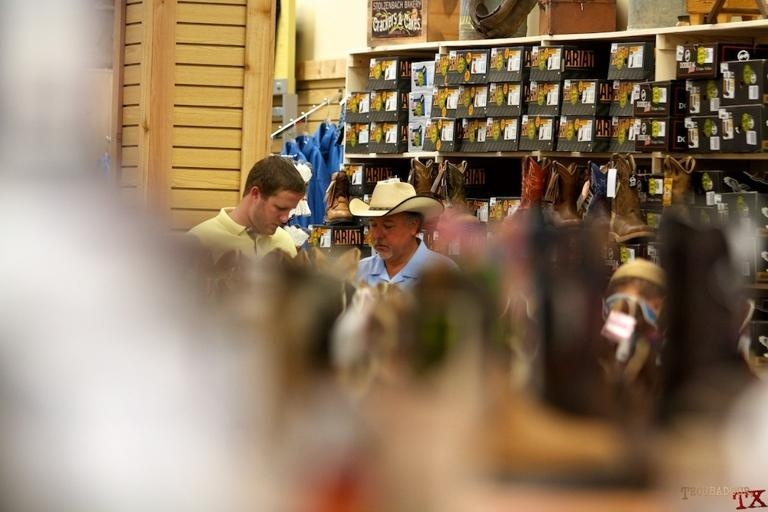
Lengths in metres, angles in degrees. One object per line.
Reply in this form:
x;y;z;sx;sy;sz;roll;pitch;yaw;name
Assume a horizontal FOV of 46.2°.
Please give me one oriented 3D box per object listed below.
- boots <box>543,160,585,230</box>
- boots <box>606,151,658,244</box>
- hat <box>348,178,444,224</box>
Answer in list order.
0.773;-0.259;4.043;0.246;0.283;0.128;17;-3;-5;boots
1.022;-0.231;3.725;0.147;0.356;0.428;-4;10;1;boots
0.063;-0.173;2.952;0.187;0.086;0.198;-2;-5;32;hat
